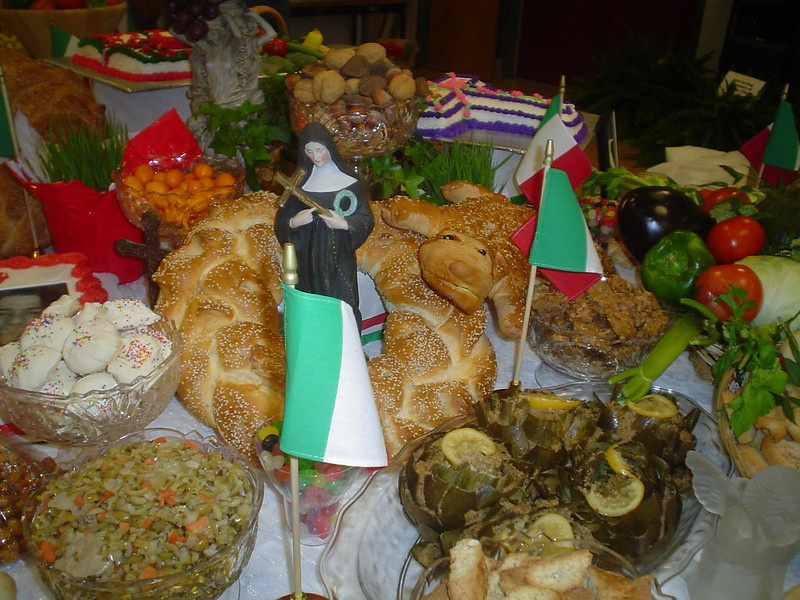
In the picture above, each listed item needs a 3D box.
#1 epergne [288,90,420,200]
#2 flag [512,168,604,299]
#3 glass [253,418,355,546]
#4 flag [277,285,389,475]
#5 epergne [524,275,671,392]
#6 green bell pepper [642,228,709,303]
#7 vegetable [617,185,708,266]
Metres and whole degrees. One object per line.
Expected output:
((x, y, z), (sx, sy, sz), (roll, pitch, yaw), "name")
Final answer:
((-0.153, -0.617, 2.643), (0.557, 0.415, 0.495), (2, 19, -1), "epergne")
((0.454, -0.219, 1.845), (0.299, 0.423, 0.208), (3, -9, 11), "flag")
((-0.197, 0.465, 1.714), (0.300, 0.276, 0.281), (0, 6, 7), "glass")
((-0.127, 0.168, 1.235), (0.208, 0.380, 0.198), (2, 37, -5), "flag")
((0.693, 0.133, 2.233), (0.502, 0.232, 0.468), (-10, 24, -41), "epergne")
((0.967, -0.115, 2.207), (0.194, 0.199, 0.185), (-23, 67, 2), "green bell pepper")
((0.982, -0.322, 2.406), (0.268, 0.186, 0.323), (-5, 58, 30), "vegetable")
